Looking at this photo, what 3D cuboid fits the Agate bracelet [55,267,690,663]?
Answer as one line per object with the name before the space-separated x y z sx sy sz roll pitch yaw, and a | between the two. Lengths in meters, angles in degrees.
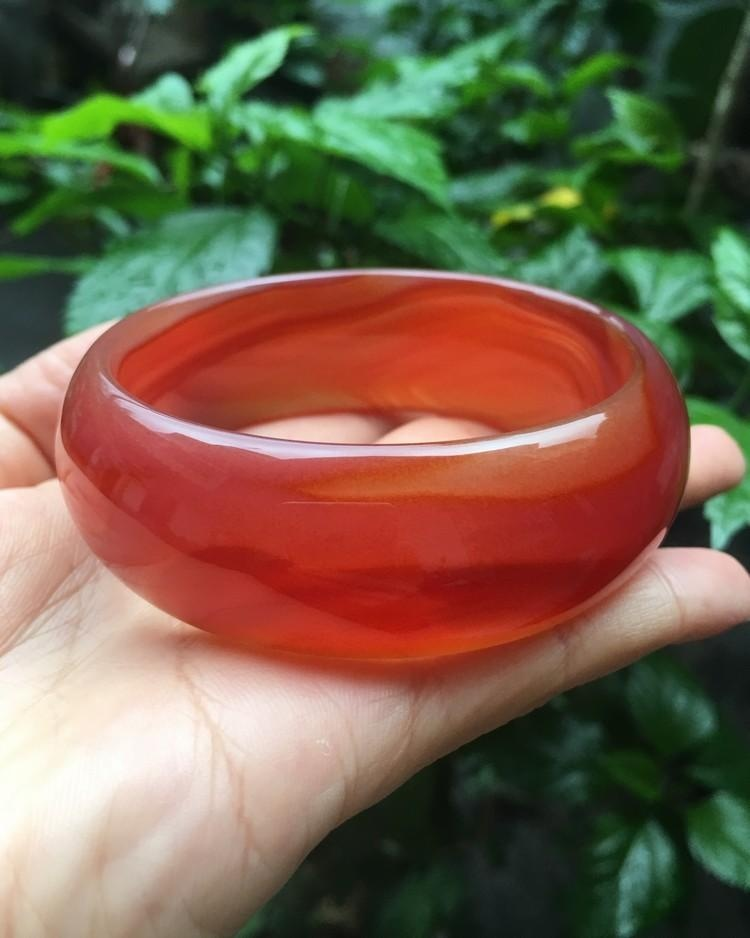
Agate bracelet | 0.001 -0.020 0.734 0.455 0.213 0.413 9 39 8
